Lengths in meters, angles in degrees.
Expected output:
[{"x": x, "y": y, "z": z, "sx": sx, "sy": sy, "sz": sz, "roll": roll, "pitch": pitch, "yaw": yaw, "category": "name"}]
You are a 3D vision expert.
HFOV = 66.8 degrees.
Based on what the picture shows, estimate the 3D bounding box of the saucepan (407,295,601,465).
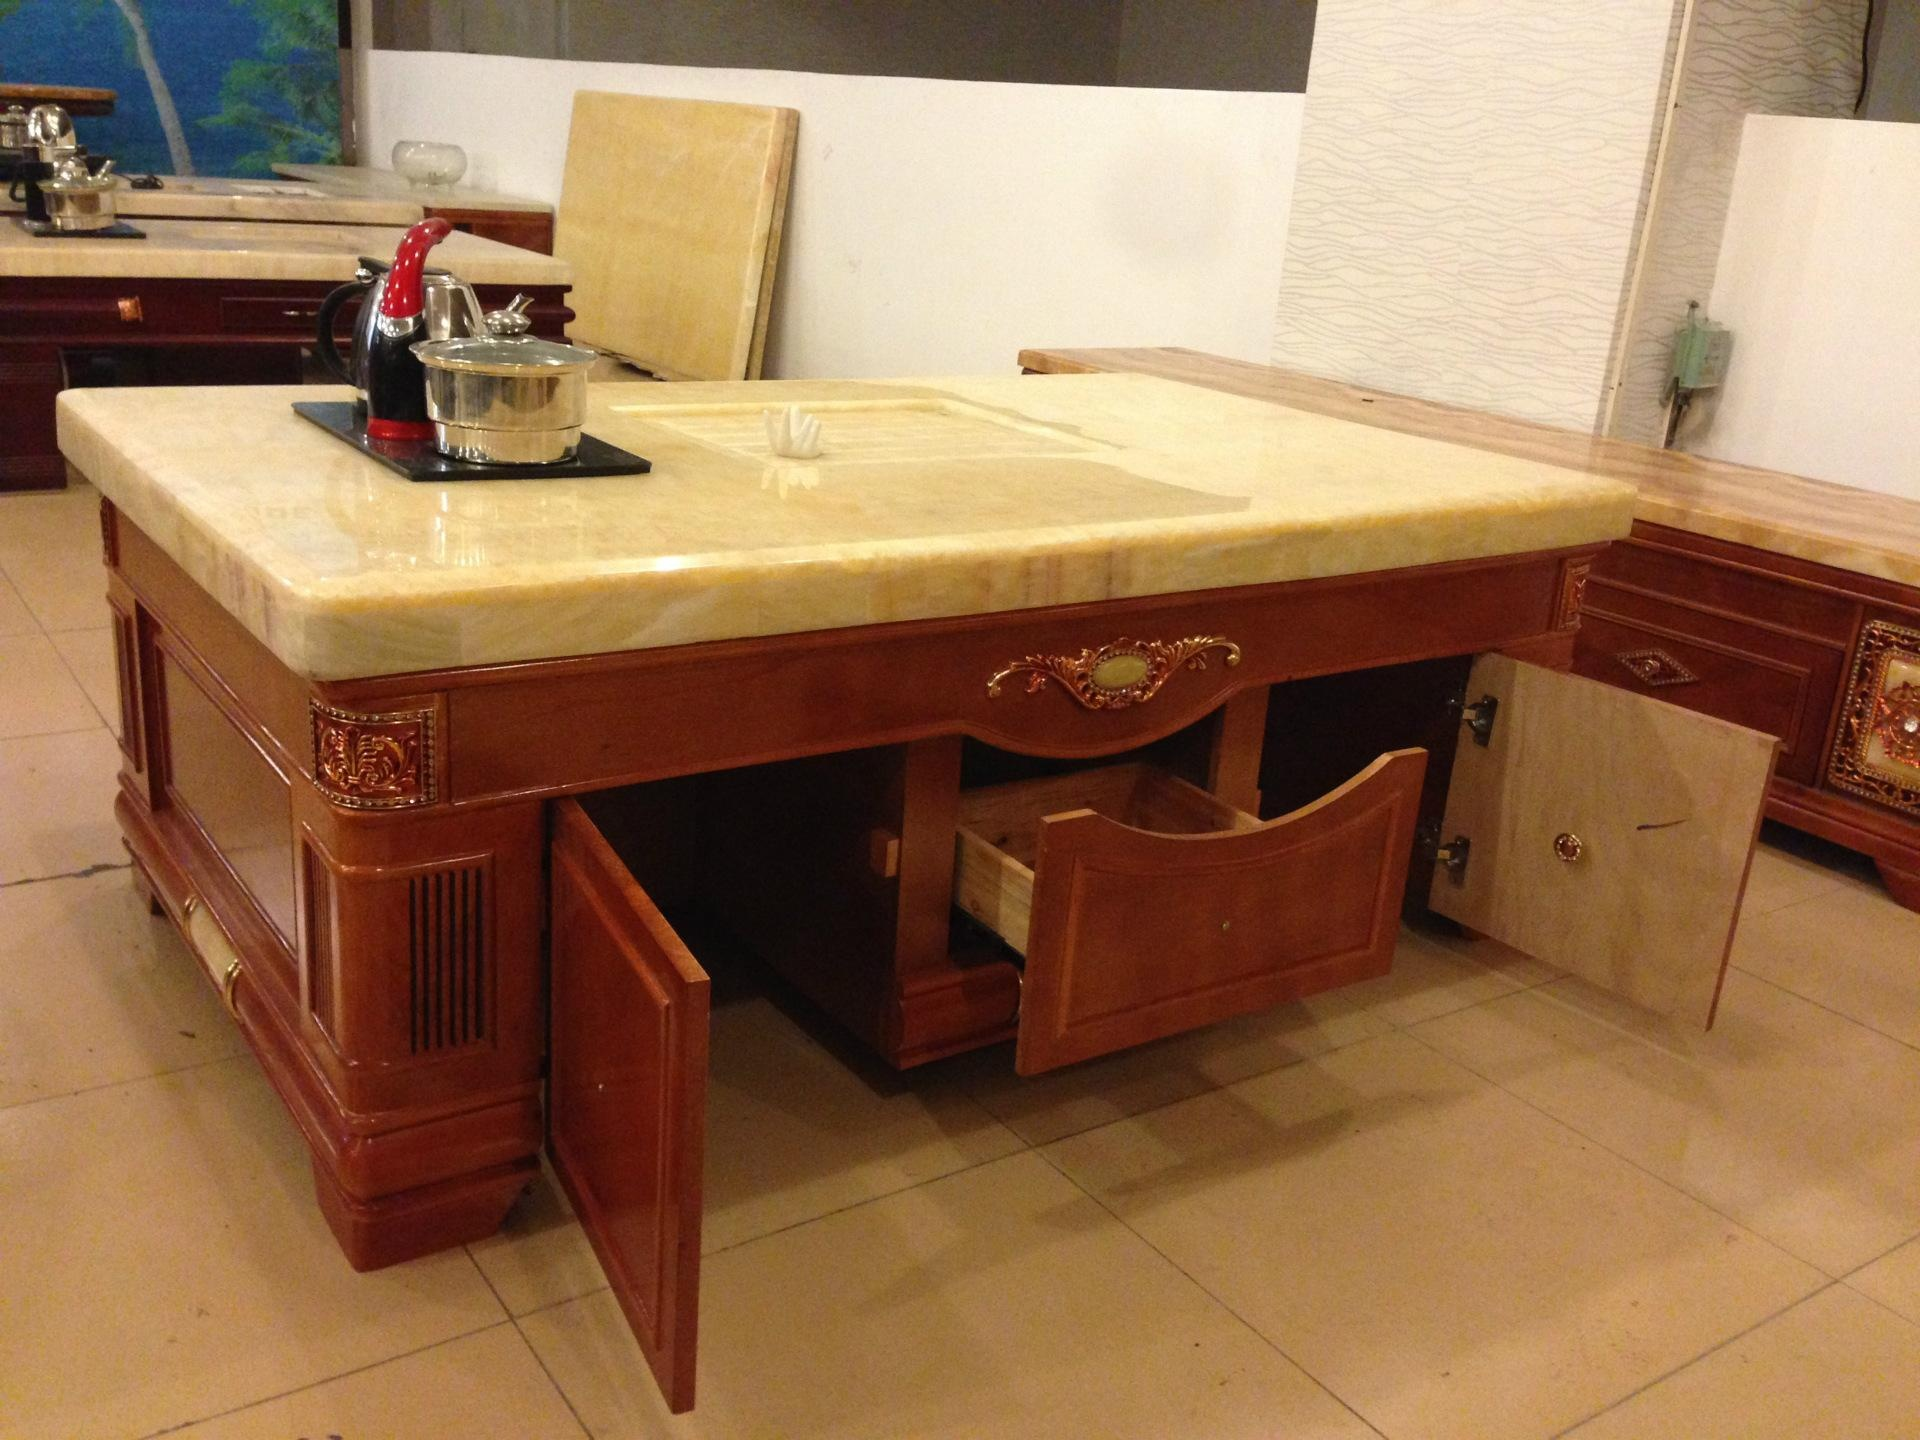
[{"x": -0.592, "y": -0.455, "z": 1.918, "sx": 0.213, "sy": 0.177, "sz": 0.253, "roll": -7, "pitch": 23, "yaw": -35, "category": "saucepan"}]

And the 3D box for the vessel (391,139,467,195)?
[{"x": -2.610, "y": -2.692, "z": 7.145, "sx": 0.307, "sy": 0.181, "sz": 0.293, "roll": 7, "pitch": 27, "yaw": 3, "category": "vessel"}]

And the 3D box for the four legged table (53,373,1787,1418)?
[{"x": -0.045, "y": 0.025, "z": 2.254, "sx": 2.016, "sy": 0.774, "sz": 1.628, "roll": -9, "pitch": 25, "yaw": -35, "category": "four legged table"}]

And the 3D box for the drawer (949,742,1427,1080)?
[{"x": 0.224, "y": 0.194, "z": 2.094, "sx": 0.667, "sy": 0.346, "sz": 0.543, "roll": -10, "pitch": 21, "yaw": -39, "category": "drawer"}]

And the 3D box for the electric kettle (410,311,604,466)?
[{"x": -0.585, "y": -0.457, "z": 1.918, "sx": 0.221, "sy": 0.184, "sz": 0.252, "roll": 6, "pitch": 21, "yaw": 6, "category": "electric kettle"}]

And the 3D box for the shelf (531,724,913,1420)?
[{"x": -0.274, "y": 0.439, "z": 1.755, "sx": 0.216, "sy": 0.567, "sz": 0.591, "roll": -4, "pitch": 21, "yaw": -26, "category": "shelf"}]

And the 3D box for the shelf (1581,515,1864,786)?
[{"x": 1.424, "y": -0.131, "z": 2.671, "sx": 0.252, "sy": 0.283, "sz": 0.446, "roll": -10, "pitch": 30, "yaw": -31, "category": "shelf"}]

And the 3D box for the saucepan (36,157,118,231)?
[{"x": -2.783, "y": -1.651, "z": 4.605, "sx": 0.223, "sy": 0.226, "sz": 0.271, "roll": 16, "pitch": 22, "yaw": 34, "category": "saucepan"}]
